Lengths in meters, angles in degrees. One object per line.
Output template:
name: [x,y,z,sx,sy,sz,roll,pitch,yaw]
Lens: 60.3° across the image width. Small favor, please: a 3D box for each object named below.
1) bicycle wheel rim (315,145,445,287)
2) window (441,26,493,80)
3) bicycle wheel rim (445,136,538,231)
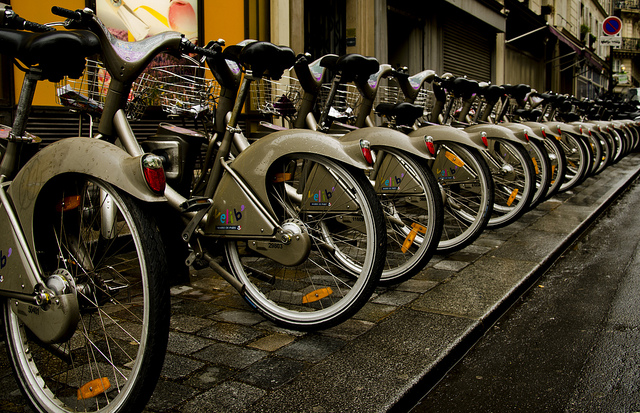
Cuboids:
bicycle wheel rim: [0.469,0.083,4.501,0.366,1.212,1.068,1,-5,-42]
window: [4.231,-4.516,16.026,0.137,1.839,3.802,1,6,30]
bicycle wheel rim: [1.909,-0.267,6.239,0.963,1.100,0.344,5,7,23]
